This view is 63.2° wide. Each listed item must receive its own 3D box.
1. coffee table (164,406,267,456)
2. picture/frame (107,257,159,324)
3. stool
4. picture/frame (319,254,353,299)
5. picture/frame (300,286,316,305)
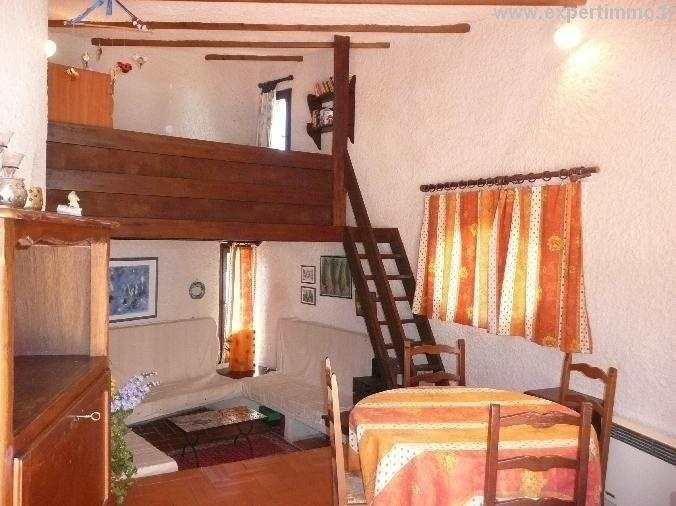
[{"bbox_3d":[-1.369,1.944,6.062,0.931,0.448,0.950,-4,6,-33],"label":"coffee table"},{"bbox_3d":[-2.543,0.464,6.764,0.030,0.875,0.848,0,0,36],"label":"picture/frame"},{"bbox_3d":[1.688,1.247,4.032,0.300,0.376,0.571,3,0,-19],"label":"stool"},{"bbox_3d":[-0.015,0.291,6.774,0.019,0.521,0.517,-4,5,-33],"label":"picture/frame"},{"bbox_3d":[-0.394,0.571,7.310,0.016,0.219,0.250,1,0,-37],"label":"picture/frame"}]
